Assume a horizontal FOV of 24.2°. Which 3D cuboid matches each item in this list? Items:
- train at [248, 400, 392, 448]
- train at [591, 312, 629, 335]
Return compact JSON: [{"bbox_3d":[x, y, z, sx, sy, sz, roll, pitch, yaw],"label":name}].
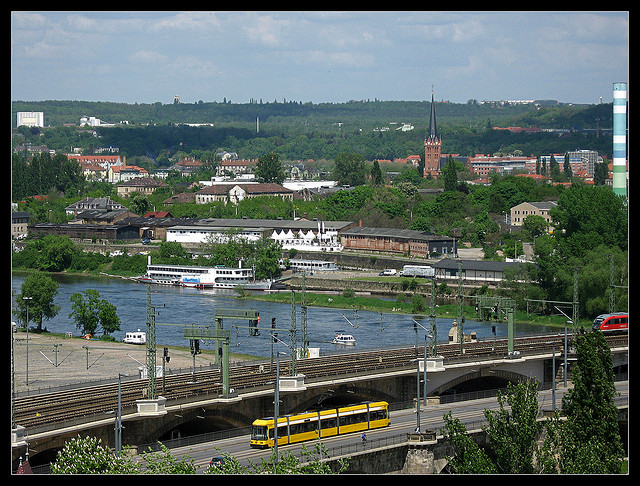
[{"bbox_3d":[-0.047,2.947,25.849,3.542,0.582,0.791,-4,4,-43],"label":"train"},{"bbox_3d":[6.332,1.766,32.333,0.712,0.420,1.068,-1,1,9],"label":"train"}]
